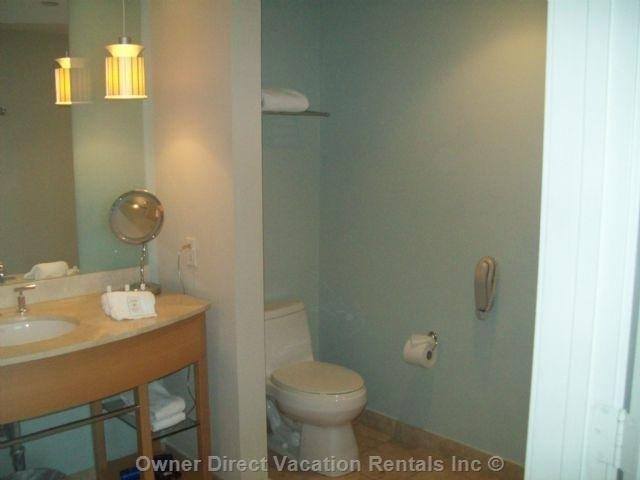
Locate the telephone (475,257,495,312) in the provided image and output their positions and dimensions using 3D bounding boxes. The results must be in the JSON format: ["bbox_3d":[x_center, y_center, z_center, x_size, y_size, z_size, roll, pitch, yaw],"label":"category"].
[{"bbox_3d":[0.508,0.156,1.796,0.074,0.178,0.041,13,-9,-26],"label":"telephone"}]

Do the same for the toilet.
[{"bbox_3d":[-0.009,0.643,2.382,0.562,0.850,0.200,10,16,42],"label":"toilet"}]

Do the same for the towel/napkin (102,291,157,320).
[{"bbox_3d":[-0.773,0.257,2.280,0.206,0.097,0.162,-5,12,-21],"label":"towel/napkin"}]

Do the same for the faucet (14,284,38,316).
[{"bbox_3d":[-1.208,0.230,2.320,0.085,0.113,0.173,-7,13,-28],"label":"faucet"}]

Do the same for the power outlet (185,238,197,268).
[{"bbox_3d":[-0.589,0.055,2.578,0.085,0.135,0.021,9,15,40],"label":"power outlet"}]

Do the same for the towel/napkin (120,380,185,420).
[{"bbox_3d":[-0.717,0.702,2.487,0.145,0.063,0.196,-3,10,-42],"label":"towel/napkin"}]

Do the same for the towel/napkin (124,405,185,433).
[{"bbox_3d":[-0.692,0.751,2.369,0.198,0.057,0.205,4,3,44],"label":"towel/napkin"}]

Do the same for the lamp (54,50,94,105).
[{"bbox_3d":[-1.103,-0.709,2.527,0.112,0.168,0.124,-1,11,-17],"label":"lamp"}]
